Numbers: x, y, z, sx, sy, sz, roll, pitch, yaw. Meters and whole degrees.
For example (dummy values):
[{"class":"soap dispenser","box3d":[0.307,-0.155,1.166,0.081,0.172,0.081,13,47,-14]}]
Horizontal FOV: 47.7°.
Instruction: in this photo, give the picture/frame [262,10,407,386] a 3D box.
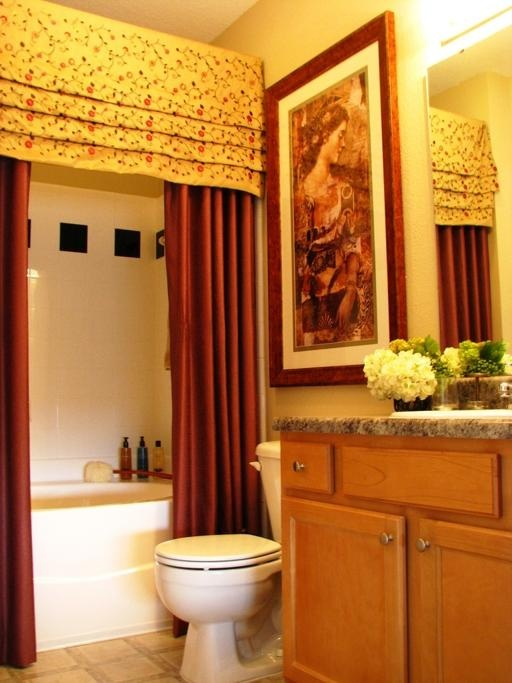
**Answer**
[{"class":"picture/frame","box3d":[0.254,-0.463,2.139,0.081,1.251,0.795,-1,-1,-29]}]

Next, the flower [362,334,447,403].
[{"class":"flower","box3d":[0.348,0.051,1.385,0.150,0.127,0.171,-1,5,14]}]
